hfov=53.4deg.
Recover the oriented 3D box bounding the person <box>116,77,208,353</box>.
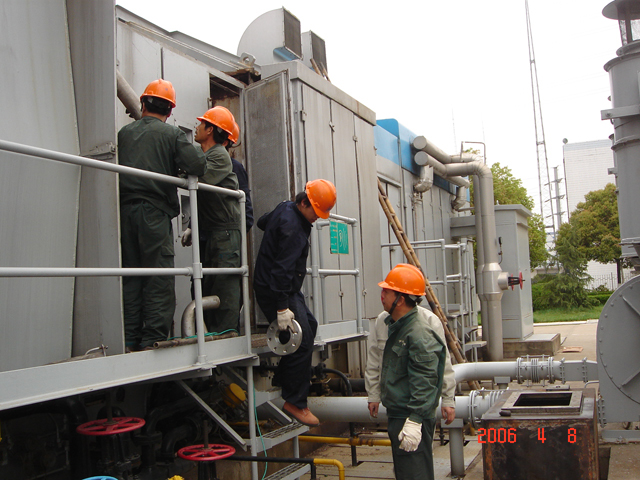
[{"bbox_3d":[-1.395,-0.265,5.458,0.647,2.385,0.554,-1,-3,-20],"label":"person"}]

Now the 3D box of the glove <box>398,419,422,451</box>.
[{"bbox_3d":[0.759,1.664,5.377,0.178,0.305,0.156,-3,-3,11],"label":"glove"}]

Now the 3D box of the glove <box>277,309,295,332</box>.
[{"bbox_3d":[-0.324,0.740,5.906,0.152,0.173,0.157,0,-1,0],"label":"glove"}]

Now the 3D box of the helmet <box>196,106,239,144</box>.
[{"bbox_3d":[-1.017,-1.135,6.462,0.414,0.244,0.332,26,1,-12],"label":"helmet"}]

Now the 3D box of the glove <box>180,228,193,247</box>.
[{"bbox_3d":[-1.373,-0.012,6.507,0.065,0.096,0.228,17,-32,-5],"label":"glove"}]

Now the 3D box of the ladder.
[{"bbox_3d":[1.733,0.595,10.011,0.309,4.837,0.111,-13,17,45],"label":"ladder"}]

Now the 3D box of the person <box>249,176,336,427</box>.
[{"bbox_3d":[-0.268,0.632,6.180,0.742,2.433,0.572,-1,-3,-29],"label":"person"}]

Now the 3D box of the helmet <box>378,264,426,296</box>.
[{"bbox_3d":[0.768,0.402,5.831,0.334,0.211,0.292,26,2,12],"label":"helmet"}]

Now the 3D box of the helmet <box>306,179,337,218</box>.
[{"bbox_3d":[0.026,-0.422,6.195,0.196,0.367,0.275,-32,-5,32],"label":"helmet"}]
